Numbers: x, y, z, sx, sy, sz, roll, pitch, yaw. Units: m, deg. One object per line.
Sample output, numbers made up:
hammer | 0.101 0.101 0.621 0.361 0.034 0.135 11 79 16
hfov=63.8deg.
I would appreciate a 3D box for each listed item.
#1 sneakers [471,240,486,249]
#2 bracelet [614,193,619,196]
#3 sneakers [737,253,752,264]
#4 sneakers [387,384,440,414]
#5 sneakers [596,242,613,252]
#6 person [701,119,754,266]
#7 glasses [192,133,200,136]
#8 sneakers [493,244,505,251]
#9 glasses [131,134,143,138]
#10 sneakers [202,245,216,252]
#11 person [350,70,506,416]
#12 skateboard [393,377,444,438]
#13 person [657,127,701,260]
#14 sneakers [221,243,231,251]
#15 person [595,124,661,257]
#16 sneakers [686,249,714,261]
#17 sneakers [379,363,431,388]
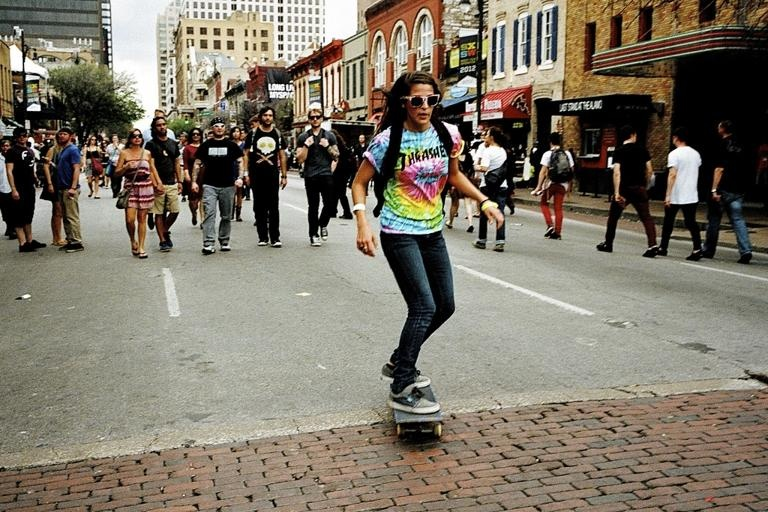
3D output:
sneakers | 1.811 -0.226 11.840 0.118 0.106 0.264 -6 17 -30
bracelet | 4.305 -1.141 11.445 0.062 0.082 0.060 -1 6 30
sneakers | 6.307 0.055 10.770 0.144 0.288 0.121 -6 47 19
sneakers | 0.214 1.015 4.346 0.443 0.143 0.150 0 0 10
sneakers | 4.227 -0.170 11.758 0.170 0.172 0.317 -8 19 -42
person | 6.242 -1.146 11.026 0.796 2.487 1.229 7 17 25
glasses | -4.094 -2.631 13.364 0.108 0.044 0.093 -2 0 -14
sneakers | 2.125 -0.152 11.445 0.175 0.112 0.316 -1 -2 3
glasses | -4.227 -2.042 10.545 0.121 0.090 0.222 5 13 20
sneakers | -3.146 -0.120 11.017 0.208 0.138 0.239 -2 13 -8
person | 0.233 -0.128 4.477 0.910 2.356 0.985 6 16 21
skateboard | 0.243 1.108 4.413 0.362 0.294 0.302 0 14 0
person | 5.563 -1.151 11.384 0.731 2.356 1.614 6 16 22
sneakers | -2.915 -0.156 11.316 0.113 0.071 0.205 -1 -1 -23
person | 4.630 -1.204 11.525 1.089 2.335 1.341 4 15 17
sneakers | 5.715 -0.007 11.098 0.597 0.181 0.214 -2 5 -10
sneakers | 0.132 0.918 4.696 0.468 0.148 0.153 3 12 26
